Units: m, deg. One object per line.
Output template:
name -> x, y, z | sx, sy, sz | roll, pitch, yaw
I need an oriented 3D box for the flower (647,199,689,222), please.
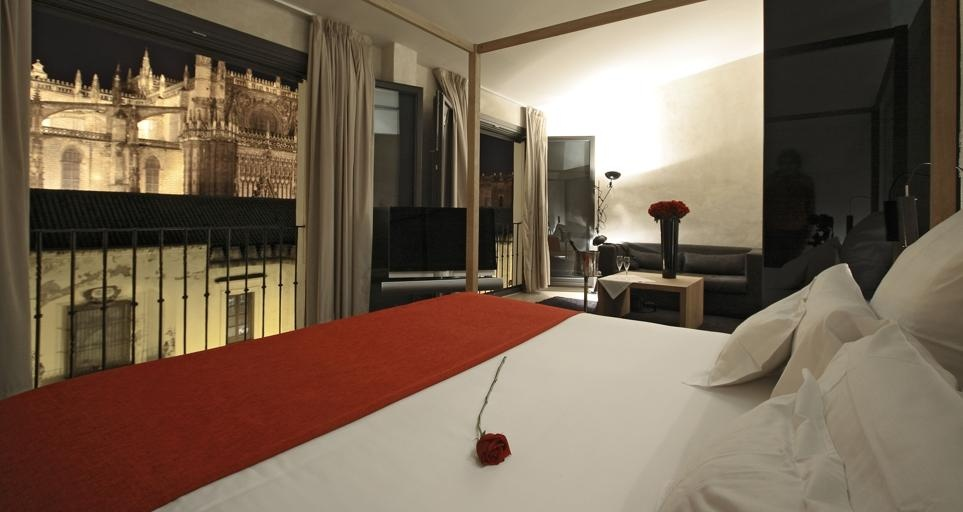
flower -> 2.364, -0.540, 7.360 | 0.400, 0.259, 0.403 | -1, -2, 16

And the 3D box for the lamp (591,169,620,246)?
lamp -> 2.130, -0.809, 9.510 | 0.483, 1.130, 0.835 | -4, 4, -4

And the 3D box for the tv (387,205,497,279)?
tv -> -0.496, -0.156, 7.693 | 1.549, 0.956, 0.149 | 1, 4, 15
